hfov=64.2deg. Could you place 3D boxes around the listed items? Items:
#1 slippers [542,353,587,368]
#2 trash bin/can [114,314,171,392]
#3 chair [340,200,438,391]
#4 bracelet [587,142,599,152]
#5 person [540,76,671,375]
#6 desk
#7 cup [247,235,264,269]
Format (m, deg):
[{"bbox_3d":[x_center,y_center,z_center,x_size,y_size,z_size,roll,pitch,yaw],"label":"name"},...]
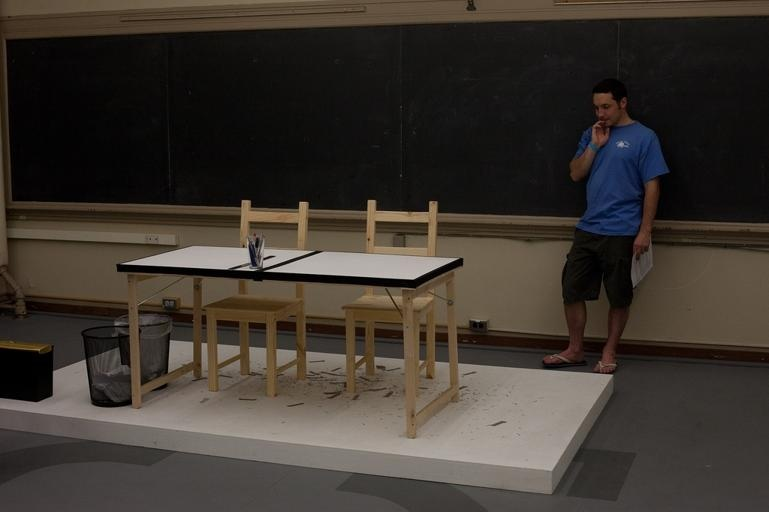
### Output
[{"bbox_3d":[1.403,0.841,4.847,0.250,0.061,0.136,1,1,8],"label":"slippers"},{"bbox_3d":[-1.633,0.653,4.198,0.418,0.429,0.425,0,5,1],"label":"trash bin/can"},{"bbox_3d":[0.051,0.272,4.257,0.609,1.270,0.603,1,3,27],"label":"chair"},{"bbox_3d":[1.581,-0.822,4.664,0.067,0.050,0.069,10,5,-4],"label":"bracelet"},{"bbox_3d":[1.703,-0.197,4.669,0.681,2.199,0.521,8,15,24],"label":"person"},{"bbox_3d":[-0.562,0.489,4.033,2.091,1.016,0.870,5,14,12],"label":"desk"},{"bbox_3d":[-0.820,-0.028,3.888,0.088,0.206,0.221,-2,14,-12],"label":"cup"}]
